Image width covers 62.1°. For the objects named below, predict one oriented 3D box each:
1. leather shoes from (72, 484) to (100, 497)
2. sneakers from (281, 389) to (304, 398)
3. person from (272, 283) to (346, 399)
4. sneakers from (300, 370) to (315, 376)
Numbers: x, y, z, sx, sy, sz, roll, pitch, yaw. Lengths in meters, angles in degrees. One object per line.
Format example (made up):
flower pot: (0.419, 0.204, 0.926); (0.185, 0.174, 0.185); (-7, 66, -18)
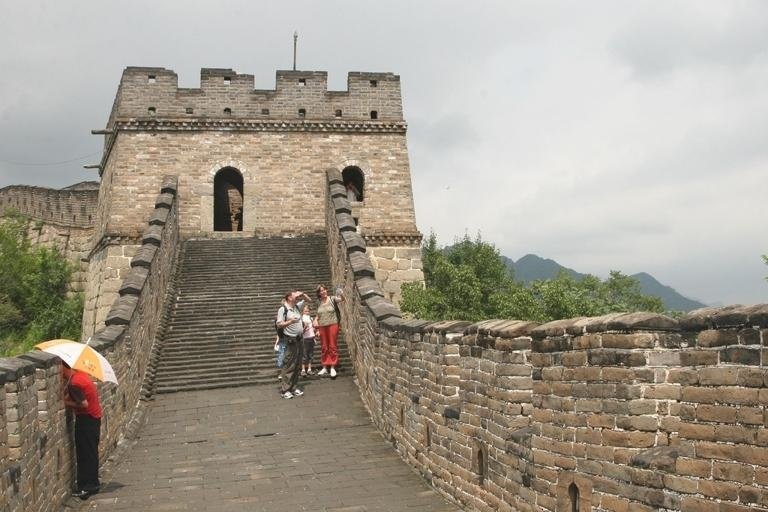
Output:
leather shoes: (-4.003, 3.174, 8.563); (0.343, 0.079, 0.247); (-3, 4, -4)
sneakers: (-1.834, 2.780, 12.861); (0.395, 0.169, 0.180); (0, -4, -20)
person: (-1.836, 1.757, 13.269); (0.627, 2.102, 1.306); (-3, 4, 2)
sneakers: (-1.677, 2.591, 14.047); (0.111, 0.142, 0.328); (4, -12, -38)
